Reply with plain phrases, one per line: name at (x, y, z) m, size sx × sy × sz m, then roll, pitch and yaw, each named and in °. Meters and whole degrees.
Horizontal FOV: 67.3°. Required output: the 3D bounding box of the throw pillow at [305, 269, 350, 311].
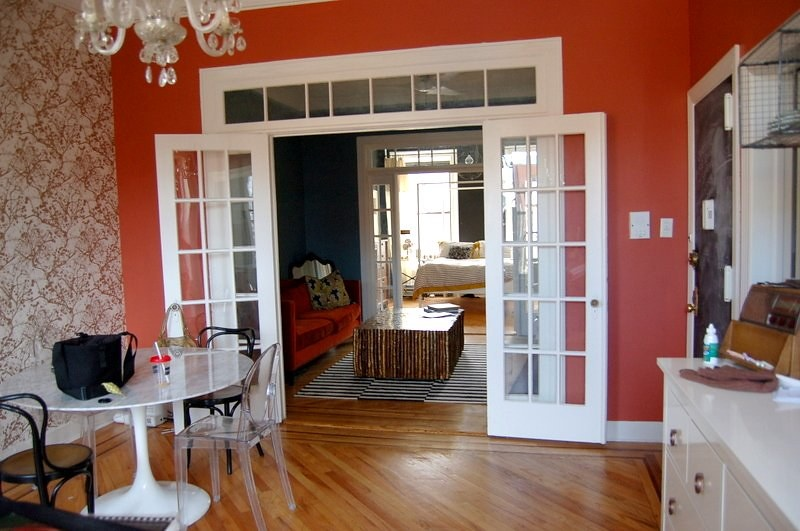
throw pillow at (-0.946, 0.362, 7.842) m, size 0.463 × 0.449 × 0.140 m, roll -19°, pitch -8°, yaw -42°

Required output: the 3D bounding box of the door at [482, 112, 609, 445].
door at (1.160, 0.122, 4.816) m, size 0.952 × 2.593 × 0.487 m, roll 0°, pitch 12°, yaw 7°

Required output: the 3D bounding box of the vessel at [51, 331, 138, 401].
vessel at (-1.986, 0.621, 3.878) m, size 0.443 × 0.336 × 0.477 m, roll -4°, pitch 12°, yaw -12°

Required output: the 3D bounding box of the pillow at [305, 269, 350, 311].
pillow at (-0.949, 0.361, 7.839) m, size 0.463 × 0.449 × 0.140 m, roll -19°, pitch -8°, yaw -42°

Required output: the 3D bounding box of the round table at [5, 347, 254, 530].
round table at (-1.656, 1.157, 3.916) m, size 1.231 × 0.782 × 1.248 m, roll -1°, pitch -1°, yaw 0°
